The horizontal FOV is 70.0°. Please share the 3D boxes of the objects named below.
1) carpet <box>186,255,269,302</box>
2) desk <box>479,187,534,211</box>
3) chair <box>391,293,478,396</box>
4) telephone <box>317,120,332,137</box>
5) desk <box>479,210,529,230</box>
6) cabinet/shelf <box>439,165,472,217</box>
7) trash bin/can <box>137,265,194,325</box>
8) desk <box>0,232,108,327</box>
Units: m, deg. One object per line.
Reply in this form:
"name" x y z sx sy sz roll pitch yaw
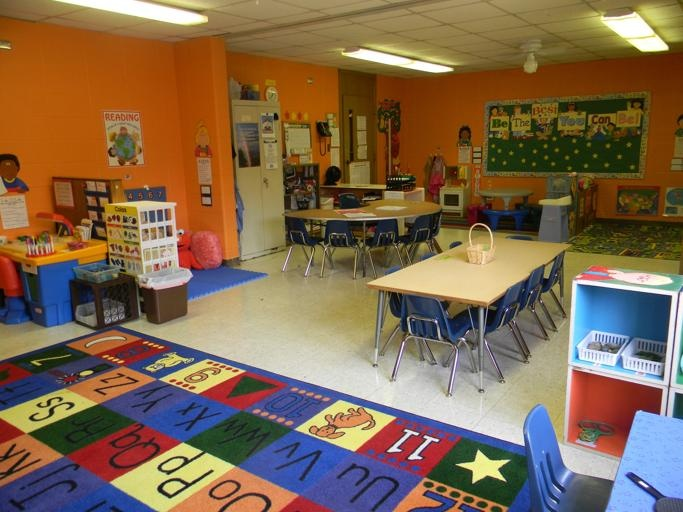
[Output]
"carpet" -1.592 0.319 6.919 1.074 0.142 1.386 -4 12 -11
"desk" 3.580 -1.227 10.620 1.051 0.502 1.208 2 13 17
"chair" 0.812 0.785 4.246 0.762 0.848 0.740 8 19 33
"telephone" -0.362 -2.588 9.900 0.100 0.296 0.364 -9 4 34
"desk" 3.443 -0.812 10.330 0.886 0.409 1.044 1 13 14
"cabinet/shelf" 2.668 -1.538 11.416 0.688 1.118 0.917 1 15 13
"trash bin/can" -2.030 0.443 5.519 0.425 0.478 0.657 9 14 32
"desk" -3.234 0.206 5.817 1.293 0.943 1.048 8 10 37
